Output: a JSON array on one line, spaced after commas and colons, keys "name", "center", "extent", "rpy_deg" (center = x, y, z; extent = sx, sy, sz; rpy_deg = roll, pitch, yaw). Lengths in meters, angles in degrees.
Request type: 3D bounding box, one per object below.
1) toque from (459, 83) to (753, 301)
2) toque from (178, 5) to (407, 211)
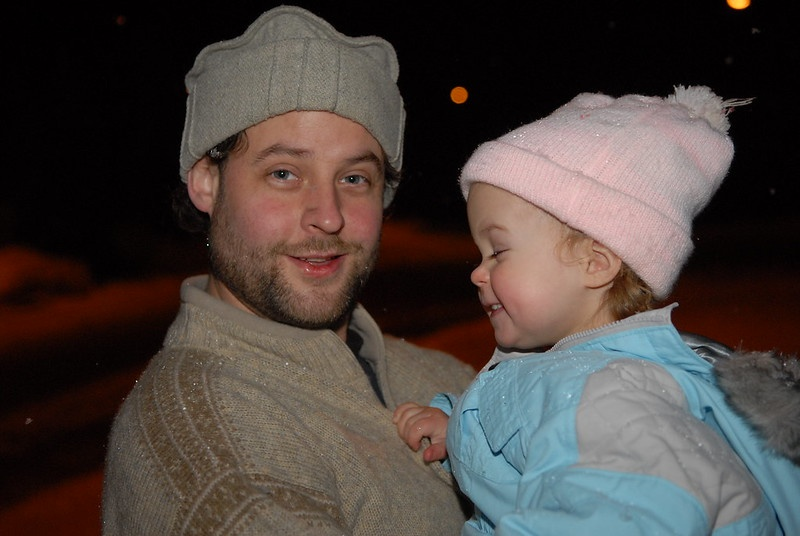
[{"name": "toque", "center": [0.912, -0.380, 3.346], "extent": [0.738, 0.966, 0.693], "rpy_deg": [31, 58, -8]}, {"name": "toque", "center": [-0.505, -0.747, 3.552], "extent": [0.821, 0.681, 0.821], "rpy_deg": [16, -26, -31]}]
